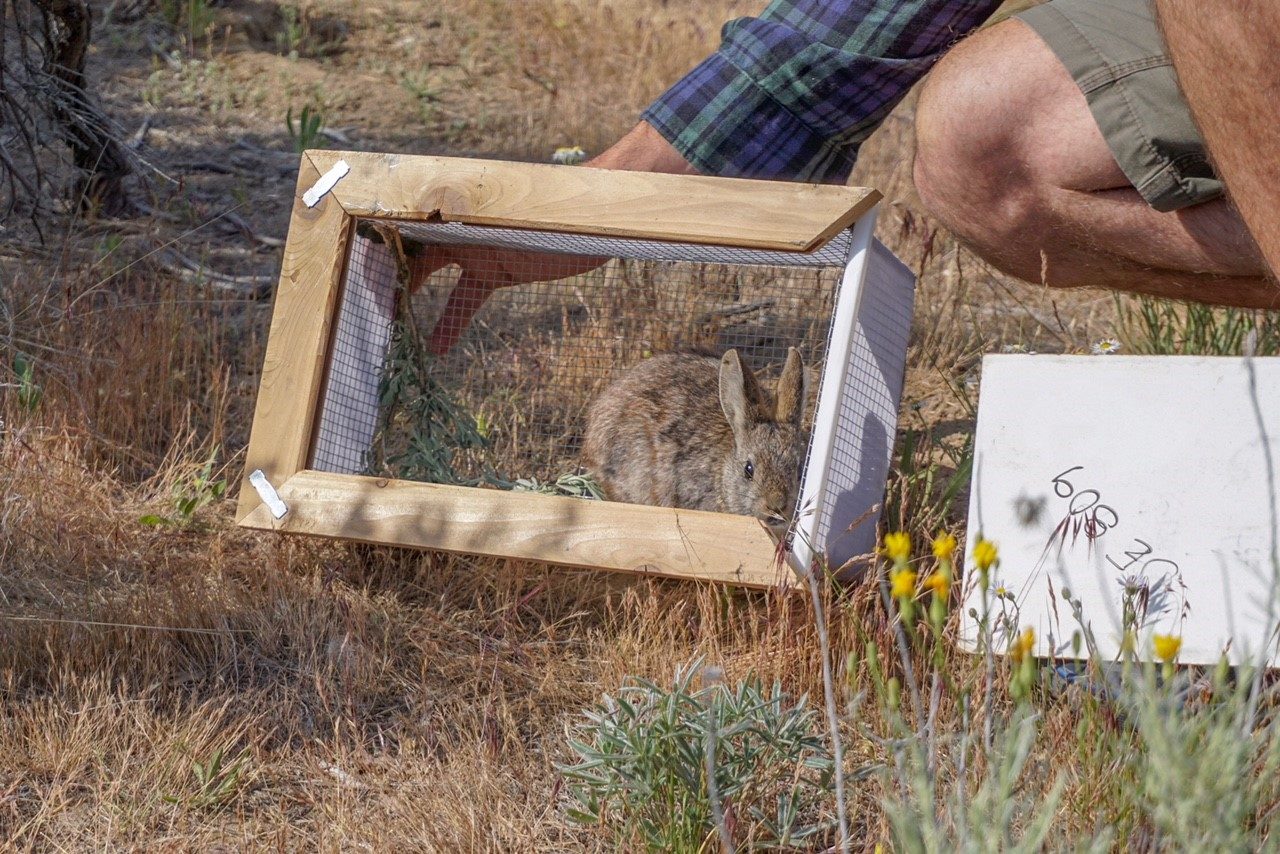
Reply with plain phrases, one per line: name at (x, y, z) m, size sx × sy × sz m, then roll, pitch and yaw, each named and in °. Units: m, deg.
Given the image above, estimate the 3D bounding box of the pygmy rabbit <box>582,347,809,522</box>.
pygmy rabbit at (0.230, 0.046, 6.848) m, size 0.579 × 0.685 × 0.888 m, roll -38°, pitch 47°, yaw -26°
